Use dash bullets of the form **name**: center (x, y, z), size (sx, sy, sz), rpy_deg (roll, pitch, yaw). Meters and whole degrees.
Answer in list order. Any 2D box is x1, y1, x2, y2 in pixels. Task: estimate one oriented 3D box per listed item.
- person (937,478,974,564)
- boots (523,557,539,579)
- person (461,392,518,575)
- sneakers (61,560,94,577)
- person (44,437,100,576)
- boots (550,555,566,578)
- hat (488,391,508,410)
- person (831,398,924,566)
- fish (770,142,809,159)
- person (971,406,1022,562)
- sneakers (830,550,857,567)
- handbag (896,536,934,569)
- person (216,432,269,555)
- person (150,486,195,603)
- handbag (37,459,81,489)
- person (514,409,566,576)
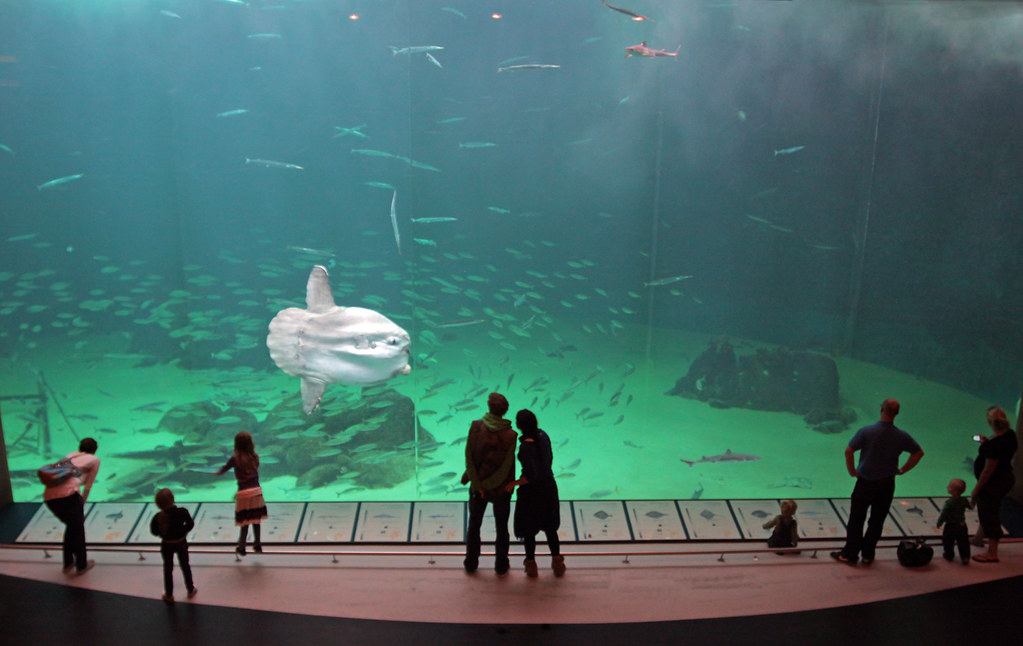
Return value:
- **person**: center (6.241, 2.746, 10.850), size (0.403, 1.230, 0.759), rpy_deg (-2, -3, 29)
- **boots**: center (0.263, 3.352, 10.576), size (0.131, 0.199, 0.334), rpy_deg (1, 6, -5)
- **person**: center (-0.296, 2.186, 10.583), size (0.778, 2.486, 0.575), rpy_deg (-1, -2, 0)
- **sneakers**: center (-6.020, 3.382, 10.637), size (0.480, 0.154, 0.142), rpy_deg (0, 2, -3)
- **person**: center (-6.129, 2.501, 10.648), size (0.693, 1.848, 0.381), rpy_deg (0, -3, -26)
- **boots**: center (0.641, 3.323, 10.578), size (0.210, 0.266, 0.306), rpy_deg (1, 9, 8)
- **hat**: center (-0.217, 1.045, 10.479), size (0.233, 0.250, 0.263), rpy_deg (22, 20, -10)
- **person**: center (5.061, 2.197, 10.736), size (1.110, 2.322, 0.473), rpy_deg (-2, -2, 18)
- **fish**: center (5.198, -3.295, 14.646), size (0.251, 0.190, 0.567), rpy_deg (0, 4, -40)
- **person**: center (6.790, 2.246, 10.821), size (0.522, 2.157, 0.556), rpy_deg (1, -3, -41)
- **sneakers**: center (4.682, 3.290, 10.876), size (0.332, 0.106, 0.168), rpy_deg (12, 8, 20)
- **handbag**: center (5.700, 3.184, 10.890), size (0.513, 0.372, 0.407), rpy_deg (-4, 7, -24)
- **person**: center (-3.793, 2.363, 10.938), size (0.590, 1.760, 0.937), rpy_deg (0, -2, -16)
- **person**: center (-4.581, 2.935, 10.413), size (0.553, 1.502, 0.610), rpy_deg (0, -3, -23)
- **handbag**: center (-6.188, 2.020, 10.508), size (0.500, 0.315, 0.480), rpy_deg (-20, 6, -43)
- **person**: center (0.334, 2.308, 10.555), size (0.617, 2.298, 0.599), rpy_deg (-2, -3, 20)
